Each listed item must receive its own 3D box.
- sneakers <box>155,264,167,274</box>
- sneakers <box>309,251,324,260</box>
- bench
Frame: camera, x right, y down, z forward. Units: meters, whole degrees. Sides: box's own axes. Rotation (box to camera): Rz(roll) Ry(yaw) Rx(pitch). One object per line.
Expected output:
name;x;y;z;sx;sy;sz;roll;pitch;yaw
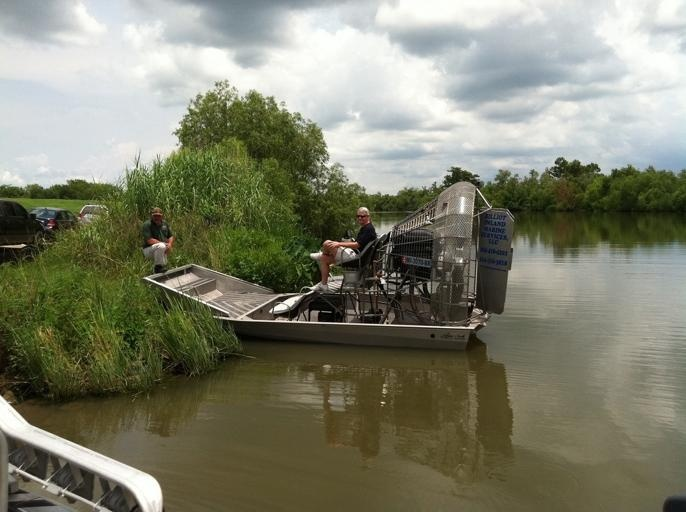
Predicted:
sneakers;-4.189;0.291;11.999;0.280;0.301;0.130;-1;17;-16
sneakers;-0.551;-0.004;11.023;0.216;0.161;0.412;-3;-1;2
bench;-0.206;0.429;10.912;2.339;1.810;1.604;2;4;8
